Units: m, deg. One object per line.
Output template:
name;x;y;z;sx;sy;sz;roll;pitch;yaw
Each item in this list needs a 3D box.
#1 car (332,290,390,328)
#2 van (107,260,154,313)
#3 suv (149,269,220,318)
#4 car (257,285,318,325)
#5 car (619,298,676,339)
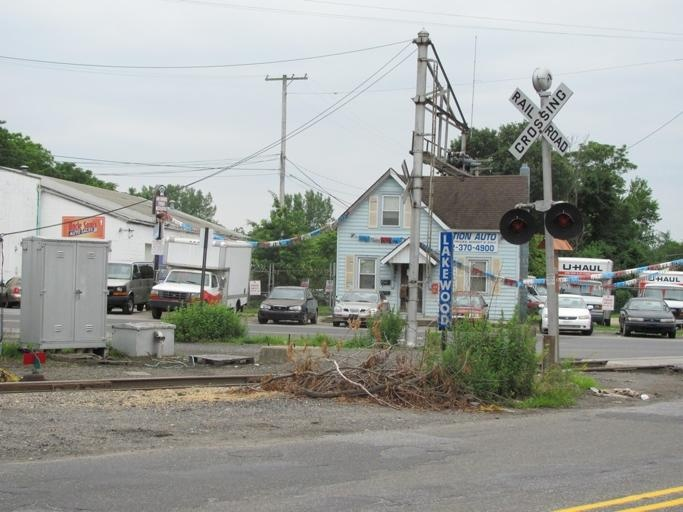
car;0.652;1.953;40.498;1.294;1.302;3.218;0;0;12
van;-8.132;1.263;42.326;1.328;1.994;3.764;3;4;-1
suv;-5.530;1.366;38.758;2.055;1.573;3.604;3;4;5
car;-1.964;1.911;40.962;1.713;1.375;2.454;3;4;9
car;11.138;2.307;39.856;1.728;1.376;1.832;3;4;9
